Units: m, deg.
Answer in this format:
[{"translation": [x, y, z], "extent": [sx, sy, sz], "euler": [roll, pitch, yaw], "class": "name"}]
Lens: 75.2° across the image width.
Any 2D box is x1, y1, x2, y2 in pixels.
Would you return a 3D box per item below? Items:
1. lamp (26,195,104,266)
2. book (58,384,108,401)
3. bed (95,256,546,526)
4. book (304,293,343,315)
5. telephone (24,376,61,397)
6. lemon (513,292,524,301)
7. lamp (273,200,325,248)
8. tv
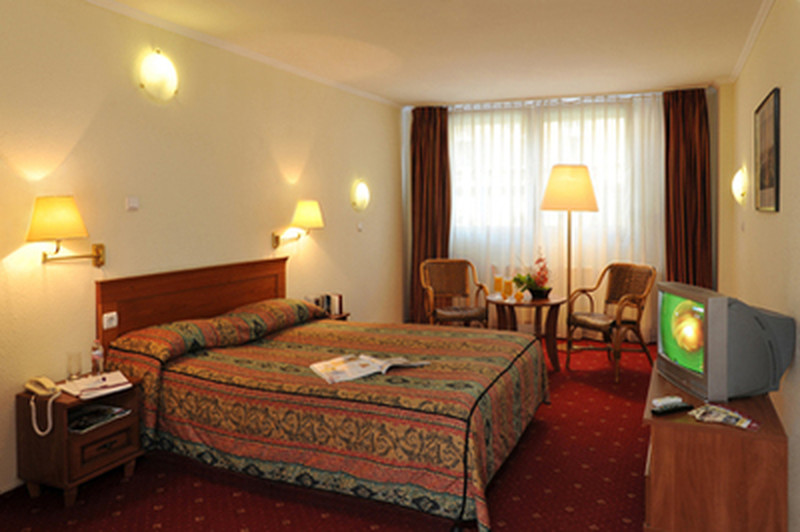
[{"translation": [-2.609, -0.270, 4.082], "extent": [0.493, 0.555, 0.426], "euler": [0, 2, -33], "class": "lamp"}, {"translation": [-2.277, 0.901, 3.728], "extent": [0.140, 0.026, 0.153], "euler": [7, 12, 16], "class": "book"}, {"translation": [-0.587, 0.972, 4.070], "extent": [2.554, 1.030, 2.136], "euler": [4, 10, 24], "class": "bed"}, {"translation": [-0.836, 0.371, 5.979], "extent": [0.342, 0.238, 0.253], "euler": [2, 4, 17], "class": "book"}, {"translation": [-2.597, 0.870, 3.767], "extent": [0.218, 0.073, 0.130], "euler": [6, 8, 24], "class": "telephone"}, {"translation": [1.395, 0.356, 6.114], "extent": [0.110, 0.103, 0.110], "euler": [-2, 7, 3], "class": "lemon"}, {"translation": [-1.048, -0.467, 5.781], "extent": [0.371, 0.487, 0.700], "euler": [6, 15, 30], "class": "lamp"}, {"translation": [2.232, 0.475, 3.645], "extent": [0.801, 0.598, 0.663], "euler": [-5, 5, -14], "class": "tv"}]
